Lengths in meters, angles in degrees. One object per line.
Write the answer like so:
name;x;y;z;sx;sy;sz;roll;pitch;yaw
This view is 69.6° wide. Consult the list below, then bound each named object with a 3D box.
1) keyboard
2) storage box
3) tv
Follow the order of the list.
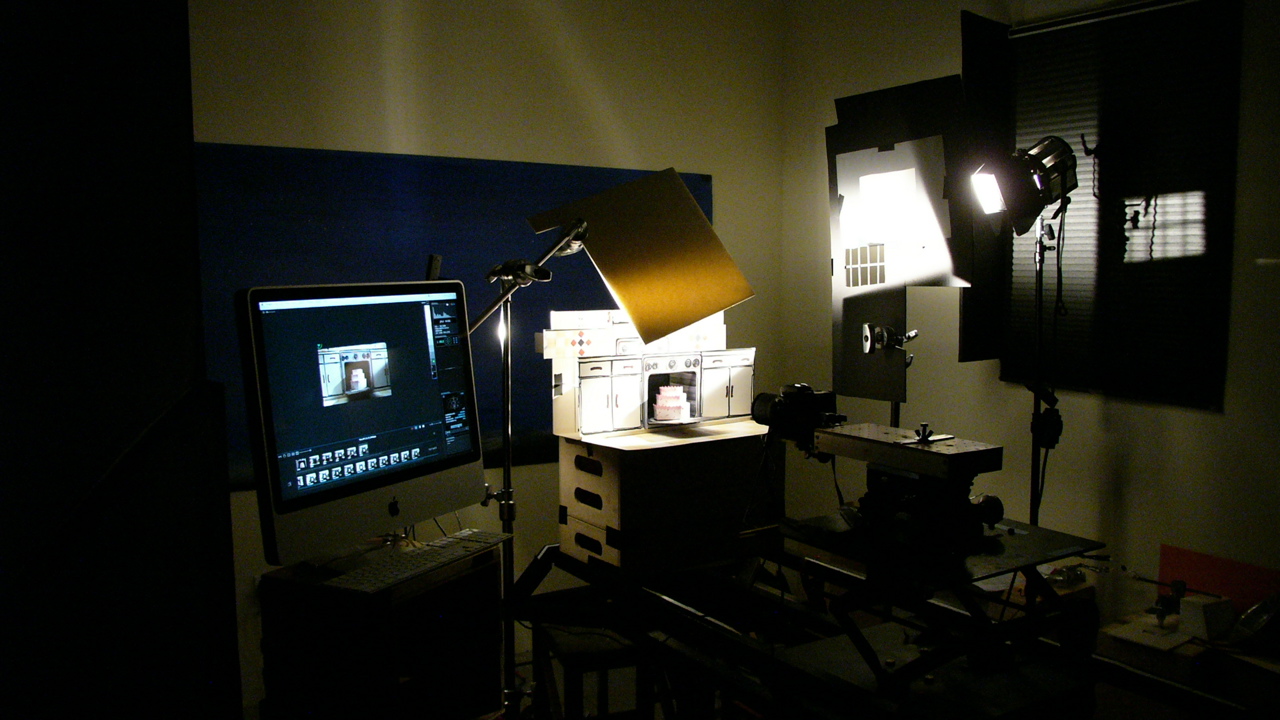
keyboard;-0.712;0.639;3.001;0.632;0.055;0.235;-9;9;-43
storage box;0.257;0.607;4.254;1.144;0.601;0.617;-2;4;-26
tv;-0.894;0.127;2.978;0.817;0.625;0.082;-9;4;-38
